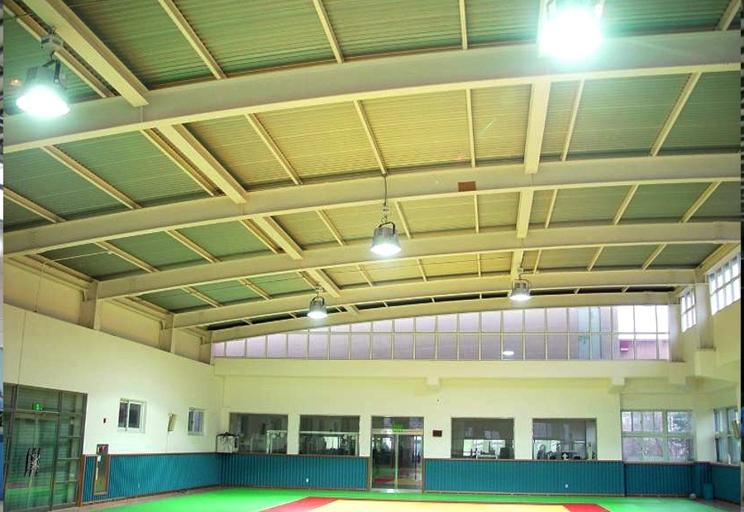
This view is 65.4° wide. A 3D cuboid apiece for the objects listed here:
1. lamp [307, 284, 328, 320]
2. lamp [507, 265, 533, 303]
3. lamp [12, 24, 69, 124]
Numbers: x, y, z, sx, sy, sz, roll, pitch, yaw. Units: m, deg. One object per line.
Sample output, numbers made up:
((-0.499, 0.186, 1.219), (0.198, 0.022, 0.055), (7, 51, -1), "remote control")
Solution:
((-2.078, 1.710, 22.617), (0.693, 0.933, 0.611), (2, -6, 1), "lamp")
((5.988, 0.975, 23.329), (1.081, 1.096, 1.012), (-3, 3, 23), "lamp")
((-5.891, -3.589, 10.691), (0.733, 1.092, 0.656), (13, 11, 22), "lamp")
